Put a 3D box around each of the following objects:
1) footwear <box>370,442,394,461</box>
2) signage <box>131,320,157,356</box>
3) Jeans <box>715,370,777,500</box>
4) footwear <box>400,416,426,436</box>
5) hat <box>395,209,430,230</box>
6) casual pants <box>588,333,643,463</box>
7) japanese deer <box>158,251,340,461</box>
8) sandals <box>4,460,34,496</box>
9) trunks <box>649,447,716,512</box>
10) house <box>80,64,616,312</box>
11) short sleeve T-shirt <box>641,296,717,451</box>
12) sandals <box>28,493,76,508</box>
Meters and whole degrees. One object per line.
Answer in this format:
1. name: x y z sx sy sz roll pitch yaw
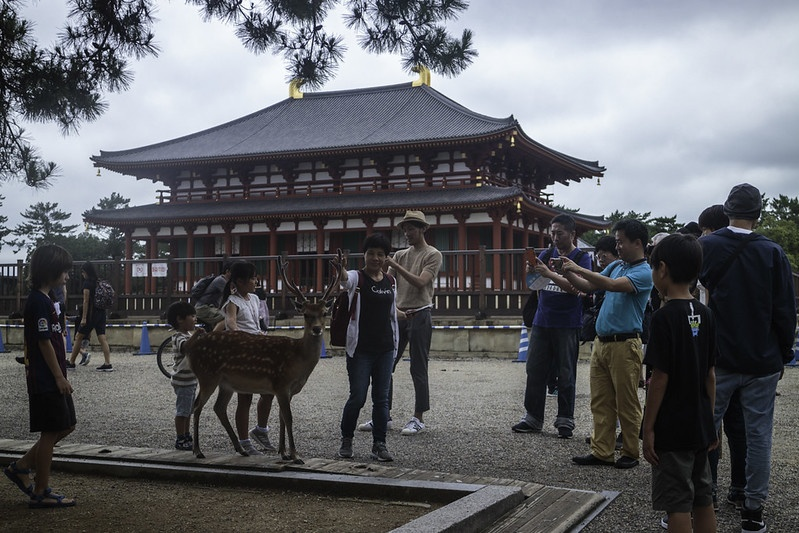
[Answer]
1. footwear: -0.184 1.900 8.269 0.106 0.135 0.279 2 -6 -39
2. signage: -5.679 1.587 17.937 0.442 0.659 1.495 3 -2 -18
3. Jeans: 2.987 1.463 6.959 0.496 1.116 0.364 1 -2 27
4. footwear: 0.165 1.827 9.261 0.327 0.185 0.230 3 -2 -18
5. hat: 0.164 -0.547 9.454 0.302 0.260 0.745 2 -2 0
6. casual pants: 2.185 1.327 8.179 0.496 1.239 0.292 1 -2 14
7. japanese deer: -1.419 0.957 7.891 1.345 1.815 0.403 2 -2 7
8. sandals: -3.408 1.907 7.254 0.132 0.340 0.131 -32 10 10
9. trunks: 2.204 1.664 6.320 0.540 0.604 0.318 5 -10 -23
10. house: -1.492 -1.538 21.584 7.623 4.277 5.904 -3 -2 16
11. short sleeve T-shirt: 2.239 0.855 6.379 0.657 1.209 0.191 3 -2 -24
12. sandals: -3.028 2.042 7.097 0.303 0.127 0.157 -2 -1 -3
